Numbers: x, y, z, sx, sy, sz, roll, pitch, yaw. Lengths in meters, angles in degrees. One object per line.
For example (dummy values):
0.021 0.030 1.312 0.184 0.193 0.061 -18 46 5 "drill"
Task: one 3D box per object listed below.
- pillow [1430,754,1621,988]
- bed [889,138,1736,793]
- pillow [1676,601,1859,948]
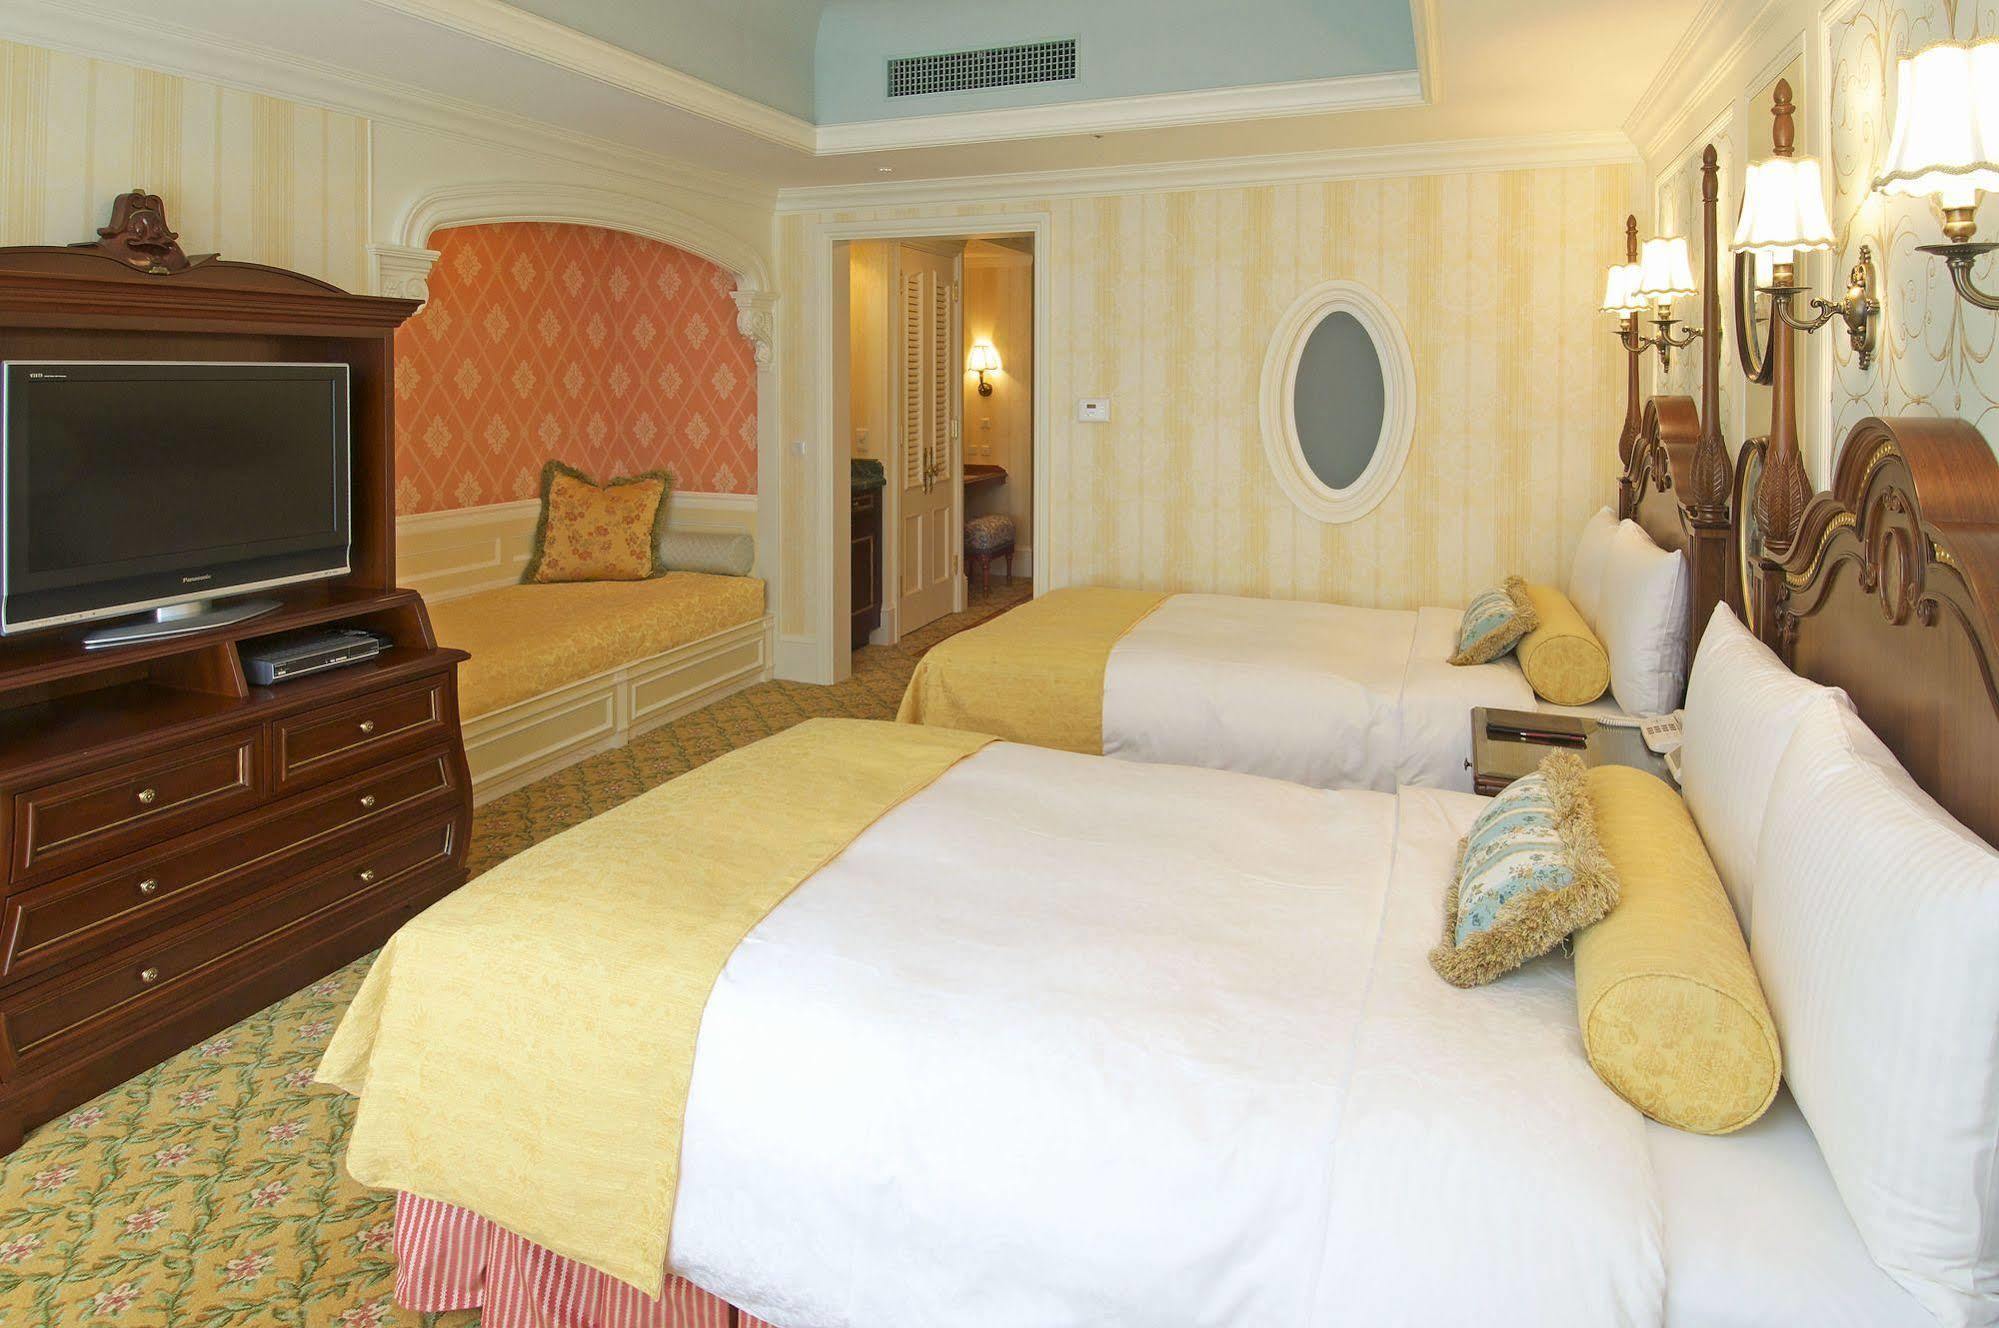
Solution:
1.159 0.465 2.717 0.216 0.120 0.409 -25 12 27 "pillow"
1.461 -0.952 5.422 3.201 2.812 1.114 3 7 26 "bed"
1.596 0.240 2.564 0.156 0.406 0.674 5 13 14 "pillow"
